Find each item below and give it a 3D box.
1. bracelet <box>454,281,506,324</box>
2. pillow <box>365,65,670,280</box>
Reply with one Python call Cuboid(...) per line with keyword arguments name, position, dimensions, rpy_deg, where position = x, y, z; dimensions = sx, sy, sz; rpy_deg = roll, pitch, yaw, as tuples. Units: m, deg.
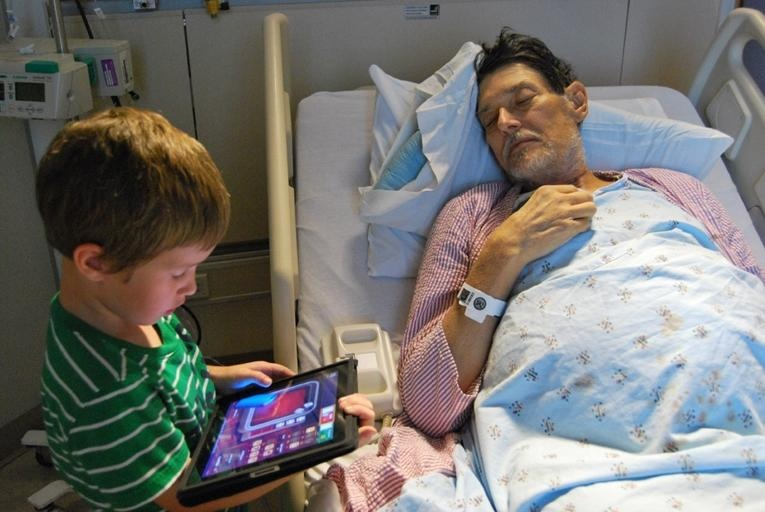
Cuboid(name="bracelet", position=(0.347, 0.173, 2.144), dimensions=(0.171, 0.119, 0.078), rpy_deg=(4, 20, 10))
Cuboid(name="pillow", position=(0.507, -0.301, 2.396), dimensions=(0.565, 0.704, 1.337), rpy_deg=(2, 32, 8))
